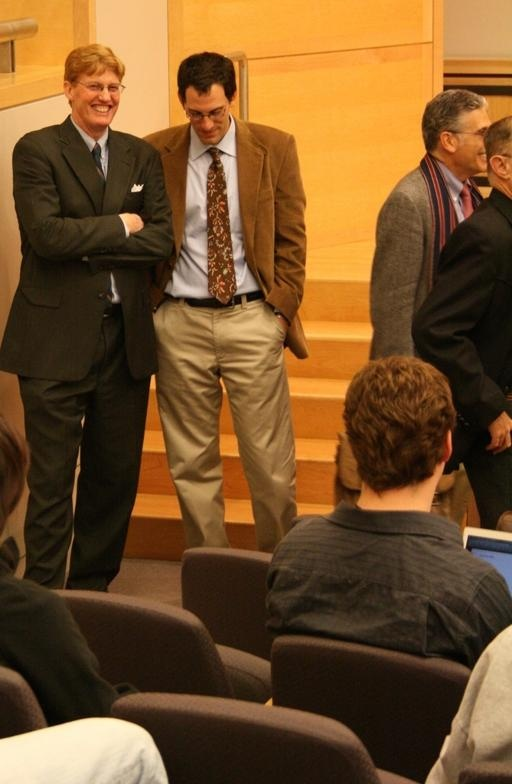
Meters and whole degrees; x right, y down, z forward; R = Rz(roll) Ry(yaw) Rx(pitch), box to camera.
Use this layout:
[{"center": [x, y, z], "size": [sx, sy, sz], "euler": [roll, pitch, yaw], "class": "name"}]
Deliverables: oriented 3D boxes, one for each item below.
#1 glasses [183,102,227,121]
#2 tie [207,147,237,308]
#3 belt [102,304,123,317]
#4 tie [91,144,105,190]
[{"center": [-0.196, -1.070, 2.514], "size": [0.157, 0.054, 0.095], "euler": [4, 12, 4], "class": "glasses"}, {"center": [-0.144, -0.676, 2.647], "size": [0.108, 0.602, 0.173], "euler": [-1, 12, -16], "class": "tie"}, {"center": [-0.547, -0.313, 2.534], "size": [0.066, 0.047, 0.089], "euler": [-3, 6, 9], "class": "belt"}, {"center": [-0.598, -0.863, 2.486], "size": [0.031, 0.191, 0.029], "euler": [-6, -10, 0], "class": "tie"}]
